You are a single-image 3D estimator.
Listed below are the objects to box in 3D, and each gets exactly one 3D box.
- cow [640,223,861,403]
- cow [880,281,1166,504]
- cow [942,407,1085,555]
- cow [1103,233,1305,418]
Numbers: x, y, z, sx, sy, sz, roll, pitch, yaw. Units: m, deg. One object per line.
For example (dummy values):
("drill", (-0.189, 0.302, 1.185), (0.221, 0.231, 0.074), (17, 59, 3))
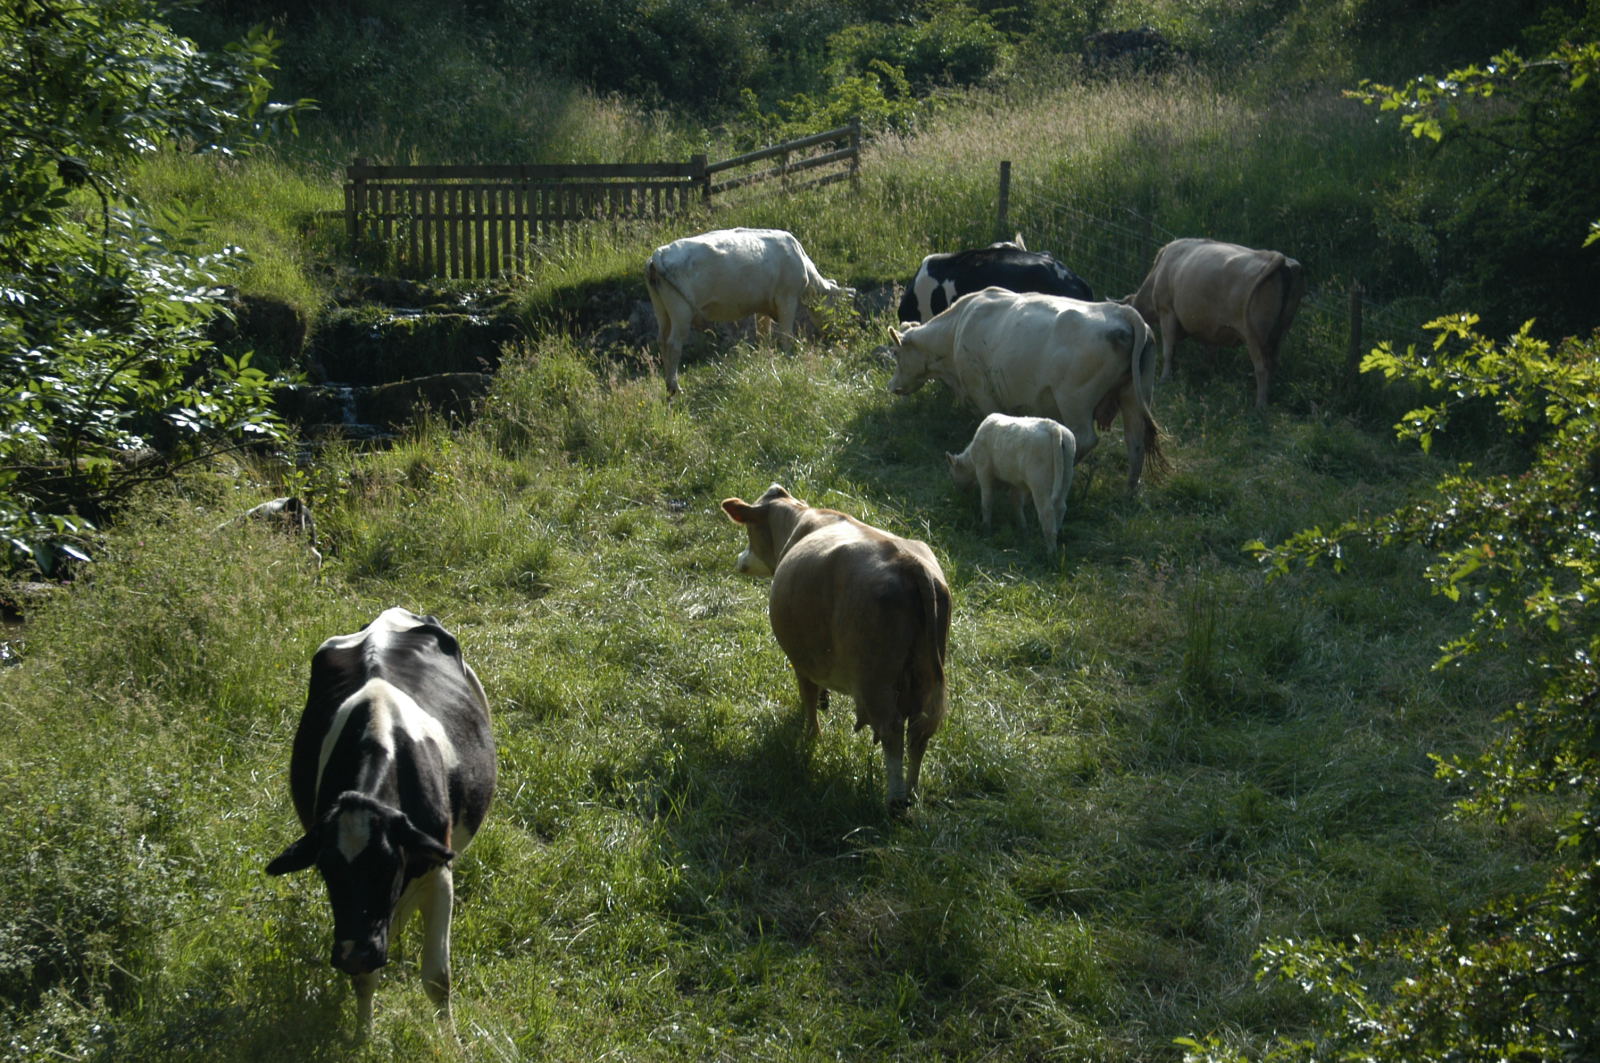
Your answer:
("cow", (-0.391, -2.812, 26.110), (3.274, 2.083, 1.000), (-20, 30, -34))
("cow", (2.308, -1.523, 24.738), (1.136, 2.303, 3.486), (-11, 16, -41))
("cow", (2.089, -0.557, 22.903), (0.569, 1.337, 2.069), (-9, 12, -28))
("cow", (4.659, -2.598, 26.564), (0.937, 1.812, 3.017), (-14, 21, -26))
